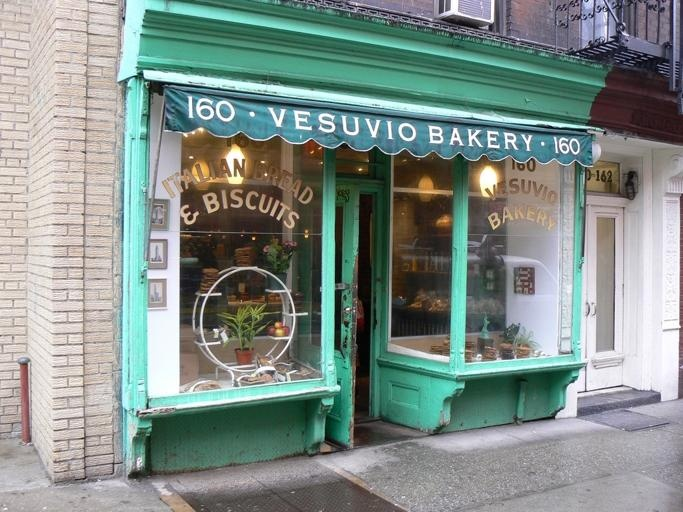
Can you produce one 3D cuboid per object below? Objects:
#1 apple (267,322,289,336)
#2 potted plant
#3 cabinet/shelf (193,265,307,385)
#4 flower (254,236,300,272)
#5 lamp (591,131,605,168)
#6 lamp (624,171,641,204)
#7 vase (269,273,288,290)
[{"bbox_3d":[-0.740,0.848,7.155,0.183,0.091,0.182,0,0,-29],"label":"apple"},{"bbox_3d":[-1.090,0.870,7.116,0.738,0.814,0.573,0,3,-2],"label":"potted plant"},{"bbox_3d":[-1.105,0.804,6.912,1.353,1.146,0.529,0,-2,-34],"label":"cabinet/shelf"},{"bbox_3d":[-0.746,-0.017,7.087,0.361,0.264,0.381,-9,5,11],"label":"flower"},{"bbox_3d":[3.918,-1.649,9.234,0.130,0.454,1.452,4,5,24],"label":"lamp"},{"bbox_3d":[4.871,-1.187,10.145,0.236,0.513,0.077,4,5,23],"label":"lamp"},{"bbox_3d":[-0.757,0.302,7.116,0.181,0.153,0.206,1,-4,2],"label":"vase"}]
